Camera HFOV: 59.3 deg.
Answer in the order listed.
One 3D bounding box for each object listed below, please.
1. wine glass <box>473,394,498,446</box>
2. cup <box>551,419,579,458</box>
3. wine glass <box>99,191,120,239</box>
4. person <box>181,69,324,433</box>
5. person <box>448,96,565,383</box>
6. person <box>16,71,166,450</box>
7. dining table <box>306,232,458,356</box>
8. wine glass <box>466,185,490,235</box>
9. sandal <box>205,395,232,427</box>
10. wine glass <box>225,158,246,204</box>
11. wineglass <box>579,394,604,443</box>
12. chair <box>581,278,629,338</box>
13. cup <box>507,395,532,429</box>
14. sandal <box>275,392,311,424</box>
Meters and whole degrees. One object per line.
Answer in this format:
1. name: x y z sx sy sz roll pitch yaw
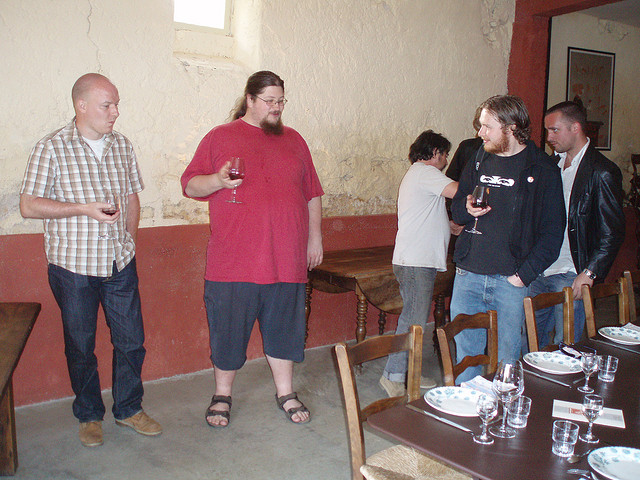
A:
1. wine glass: 0.686 0.728 2.310 0.089 0.191 0.085 10 7 41
2. cup: 0.960 0.767 2.205 0.087 0.108 0.106 10 16 28
3. wine glass: -1.249 -0.134 3.340 0.121 0.281 0.358 -3 15 -20
4. person: -0.413 0.073 3.685 0.935 2.277 0.594 -1 14 -14
5. person: 1.145 0.101 3.687 0.615 2.042 0.725 -24 30 -38
6. person: -1.298 0.094 3.579 0.646 2.208 0.843 8 14 21
7. dining table: 0.462 0.484 4.647 1.358 0.647 0.870 -6 10 -41
8. wine glass: 0.982 -0.184 3.461 0.108 0.320 0.236 6 14 15
9. sandal: -0.684 1.120 3.877 0.160 0.137 0.468 3 10 -4
10. wine glass: -0.516 -0.360 3.427 0.095 0.308 0.273 0 14 -12
11. wineglass: 1.127 0.713 2.325 0.074 0.144 0.216 9 16 26
12. chair: 1.828 0.421 3.566 0.444 0.324 0.197 -5 15 -27
13. cup: 0.830 0.702 2.359 0.107 0.121 0.103 2 4 0
14. sandal: -0.202 1.124 3.910 0.112 0.122 0.308 -18 24 -32
